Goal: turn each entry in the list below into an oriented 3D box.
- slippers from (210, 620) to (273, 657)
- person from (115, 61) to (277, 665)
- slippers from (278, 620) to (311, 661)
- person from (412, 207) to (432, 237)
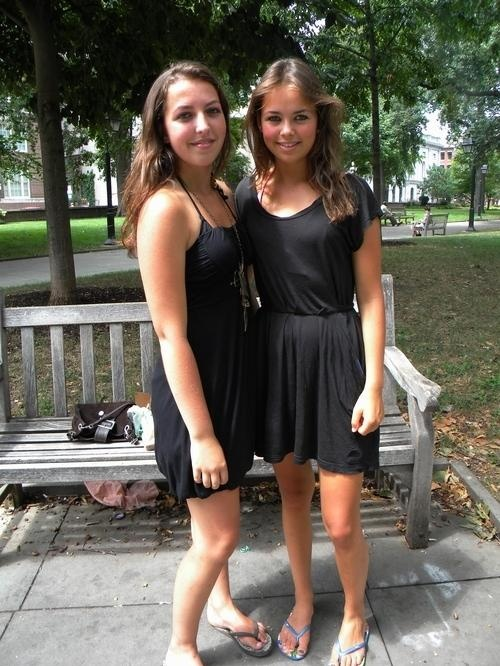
[{"bbox_3d":[-0.007,1.091,1.941,0.170,0.039,0.081,6,12,39],"label":"slippers"},{"bbox_3d":[-0.134,0.192,1.628,0.391,1.938,0.376,-6,10,-23],"label":"person"},{"bbox_3d":[0.162,1.099,1.919,0.080,0.047,0.204,2,9,6],"label":"slippers"},{"bbox_3d":[7.091,-4.485,22.186,0.700,0.929,1.533,1,9,18],"label":"person"}]
